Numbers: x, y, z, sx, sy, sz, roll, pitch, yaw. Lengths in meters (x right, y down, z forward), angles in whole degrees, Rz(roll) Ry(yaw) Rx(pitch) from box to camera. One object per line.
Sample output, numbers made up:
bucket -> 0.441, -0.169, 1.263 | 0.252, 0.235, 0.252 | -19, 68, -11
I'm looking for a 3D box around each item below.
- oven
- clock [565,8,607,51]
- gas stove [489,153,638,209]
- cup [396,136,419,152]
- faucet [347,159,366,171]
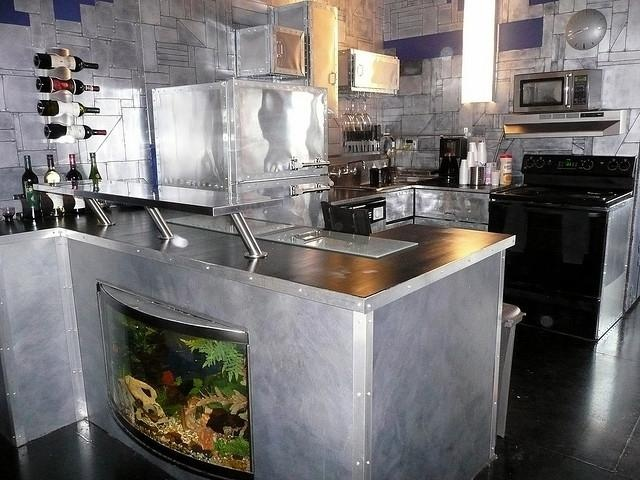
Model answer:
oven -> 2.137, 0.087, 4.673 | 1.114, 1.659, 1.153 | -6, 10, -42
clock -> 2.590, -2.023, 4.556 | 0.448, 0.476, 0.033 | 2, 7, 44
gas stove -> 2.267, -0.568, 4.345 | 0.998, 0.392, 0.921 | 11, 17, 39
cup -> 1.073, -1.164, 5.790 | 0.280, 0.161, 0.184 | 3, 2, 13
faucet -> 0.398, -0.785, 5.034 | 0.177, 0.103, 0.121 | -2, 2, -18
